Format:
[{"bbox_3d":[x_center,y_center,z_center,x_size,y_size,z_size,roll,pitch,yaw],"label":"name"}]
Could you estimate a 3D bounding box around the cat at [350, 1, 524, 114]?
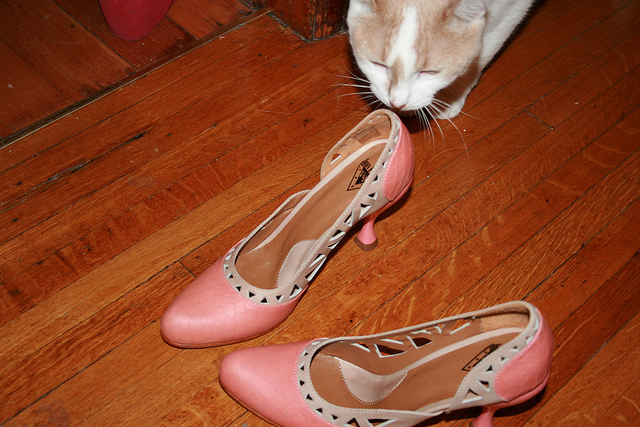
[{"bbox_3d":[0.308,-0.474,1.529,0.279,0.543,0.257,-42,74,-9],"label":"cat"}]
